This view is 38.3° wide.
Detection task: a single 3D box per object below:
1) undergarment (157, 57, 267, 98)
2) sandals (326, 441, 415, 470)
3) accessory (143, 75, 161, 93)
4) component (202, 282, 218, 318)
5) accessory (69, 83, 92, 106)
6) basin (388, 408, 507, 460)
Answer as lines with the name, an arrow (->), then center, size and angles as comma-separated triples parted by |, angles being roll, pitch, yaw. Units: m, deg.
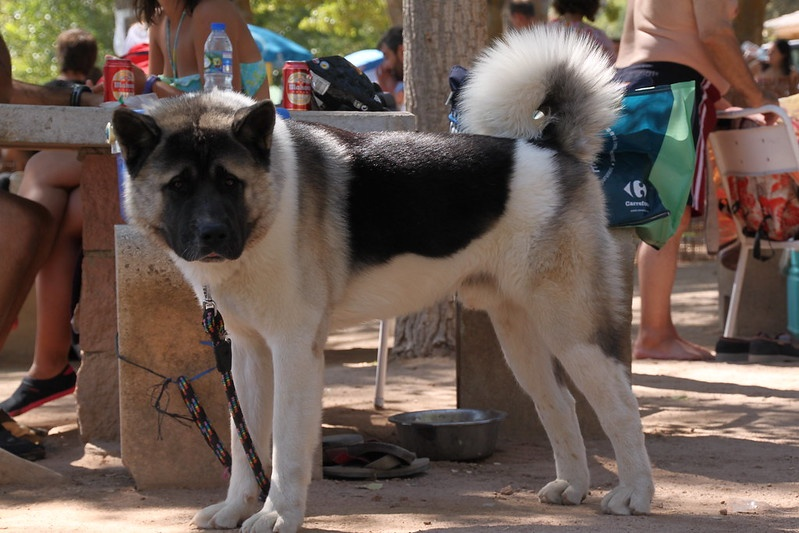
undergarment -> -1.345, -1.396, 8.574 | 0.684, 0.324, 0.503 | 0, 1, -17
sandals -> -0.221, 1.261, 7.744 | 0.535, 0.126, 0.217 | 0, 18, 8
accessory -> -1.765, -1.274, 8.112 | 0.055, 0.140, 0.103 | 21, -3, -18
component -> -1.130, 0.206, 6.834 | 0.089, 0.172, 0.117 | -6, -9, -10
accessory -> -2.303, -1.224, 8.297 | 0.151, 0.219, 0.267 | -5, -9, -14
basin -> 0.380, 1.176, 7.984 | 0.501, 0.183, 0.439 | -3, -1, -33
